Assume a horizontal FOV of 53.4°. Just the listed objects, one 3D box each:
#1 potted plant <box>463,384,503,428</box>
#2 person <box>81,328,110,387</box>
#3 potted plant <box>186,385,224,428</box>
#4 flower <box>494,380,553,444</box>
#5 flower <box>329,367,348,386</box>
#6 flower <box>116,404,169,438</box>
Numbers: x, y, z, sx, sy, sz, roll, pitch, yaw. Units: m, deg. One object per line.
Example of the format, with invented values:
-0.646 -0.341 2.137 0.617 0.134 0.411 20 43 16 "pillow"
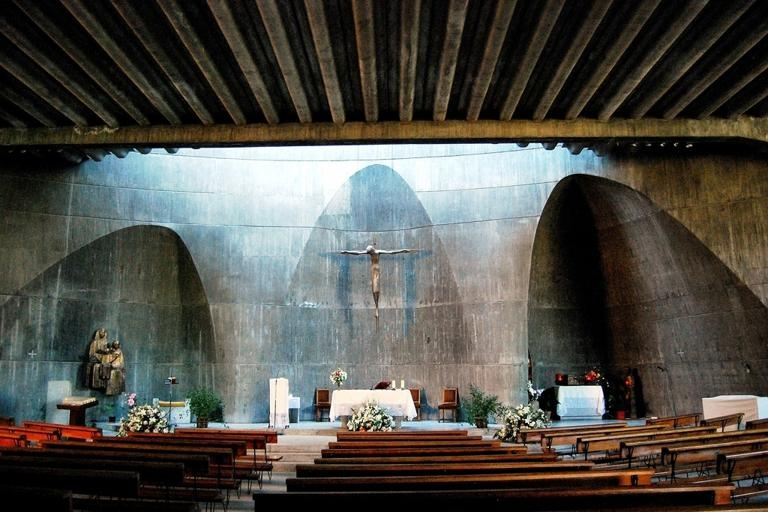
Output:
2.413 3.745 19.011 0.916 1.026 0.772 2 -20 -3 "potted plant"
-7.212 2.598 19.076 0.608 1.502 0.309 2 -15 -21 "person"
-4.622 3.836 19.303 0.724 1.029 0.954 -2 -10 8 "potted plant"
3.028 3.449 16.849 1.327 1.083 1.394 -2 3 12 "flower"
-1.157 3.075 19.246 0.557 0.644 0.608 -1 -6 -2 "flower"
-5.167 3.632 16.298 0.804 0.609 0.850 4 -11 -10 "flower"
